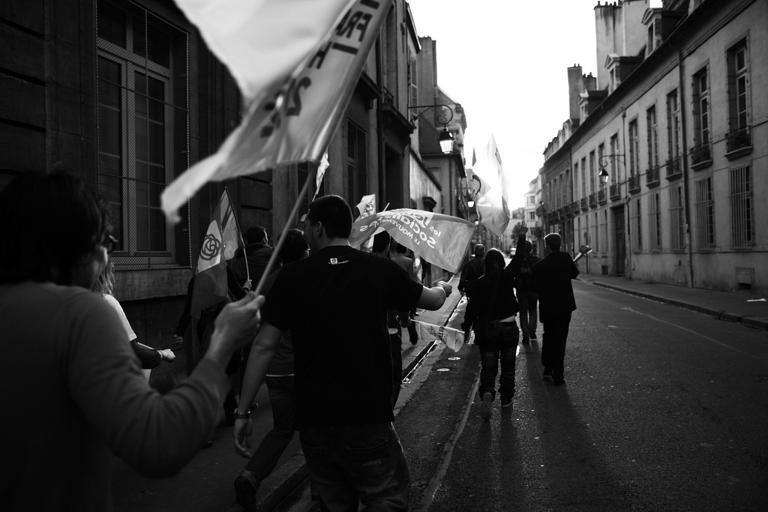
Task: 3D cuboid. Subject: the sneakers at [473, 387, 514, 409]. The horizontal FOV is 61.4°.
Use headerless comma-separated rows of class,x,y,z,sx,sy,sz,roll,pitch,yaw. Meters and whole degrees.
sneakers,1.323,1.691,7.564,0.604,0.231,0.256,11,-21,-35
